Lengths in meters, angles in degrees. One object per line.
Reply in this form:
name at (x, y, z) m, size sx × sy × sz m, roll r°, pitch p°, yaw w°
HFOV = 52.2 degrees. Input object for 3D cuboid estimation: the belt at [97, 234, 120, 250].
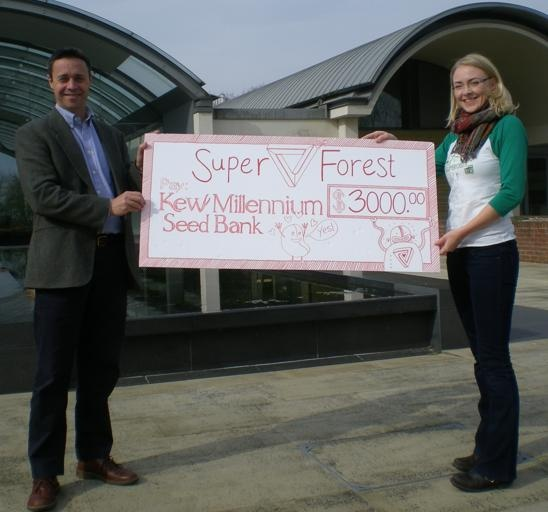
belt at (-0.928, -0.076, 3.105) m, size 0.079 × 0.035 × 0.103 m, roll -5°, pitch -8°, yaw -7°

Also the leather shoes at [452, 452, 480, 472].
leather shoes at (1.083, 1.176, 3.185) m, size 0.183 × 0.111 × 0.059 m, roll 8°, pitch -16°, yaw -1°

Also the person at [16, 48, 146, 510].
person at (-1.058, 0.078, 3.088) m, size 0.773 × 2.373 × 0.520 m, roll -4°, pitch 7°, yaw -34°

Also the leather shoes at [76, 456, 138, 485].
leather shoes at (-0.942, 1.202, 3.208) m, size 0.389 × 0.152 × 0.130 m, roll 0°, pitch -6°, yaw 14°

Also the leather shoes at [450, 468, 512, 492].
leather shoes at (1.093, 1.206, 2.991) m, size 0.295 × 0.113 × 0.118 m, roll 7°, pitch -10°, yaw 2°

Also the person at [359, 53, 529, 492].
person at (1.138, 0.058, 3.129) m, size 0.465 × 2.355 × 0.592 m, roll 2°, pitch 6°, yaw 22°
